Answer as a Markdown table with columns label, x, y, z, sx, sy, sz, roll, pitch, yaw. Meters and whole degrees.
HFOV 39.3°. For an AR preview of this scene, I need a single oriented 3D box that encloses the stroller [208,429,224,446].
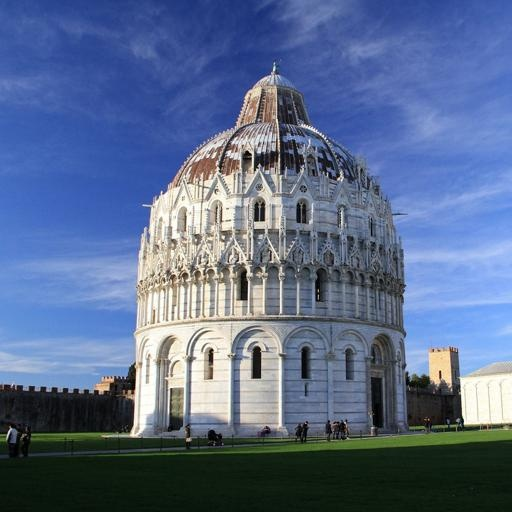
| label | x | y | z | sx | sy | sz | roll | pitch | yaw |
| --- | --- | --- | --- | --- | --- | --- | --- | --- | --- |
| stroller | -2.494 | 11.161 | 43.906 | 1.206 | 1.081 | 0.860 | 9 | -22 | -26 |
